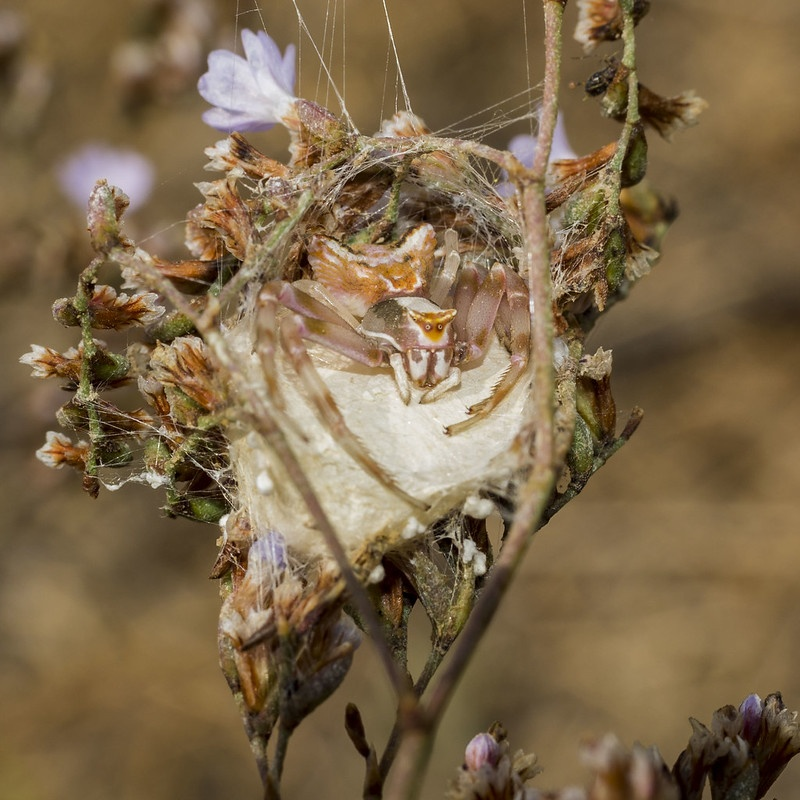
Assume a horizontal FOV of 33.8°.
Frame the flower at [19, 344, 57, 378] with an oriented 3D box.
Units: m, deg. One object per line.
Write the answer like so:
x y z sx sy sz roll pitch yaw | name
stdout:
-0.325 -0.038 1.198 0.034 0.028 0.011 14 -7 -2 | flower

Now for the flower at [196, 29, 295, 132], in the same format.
-0.135 -0.308 1.256 0.087 0.087 0.107 -2 27 14 | flower

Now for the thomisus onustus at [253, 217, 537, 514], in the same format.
0.006 -0.057 1.238 0.272 0.129 0.317 -11 18 -27 | thomisus onustus

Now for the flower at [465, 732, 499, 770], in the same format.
0.070 0.291 1.119 0.022 0.032 0.009 19 -4 1 | flower
